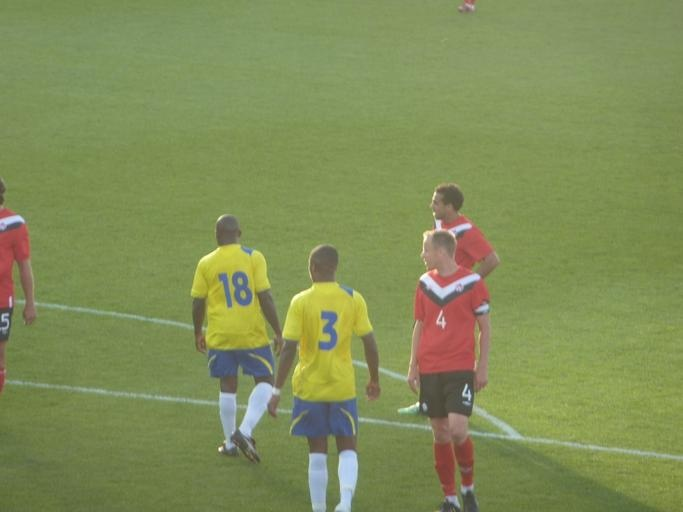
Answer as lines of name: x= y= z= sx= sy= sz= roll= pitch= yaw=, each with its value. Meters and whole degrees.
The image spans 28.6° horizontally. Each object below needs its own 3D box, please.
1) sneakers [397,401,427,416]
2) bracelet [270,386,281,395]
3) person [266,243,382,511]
sneakers: x=0.794 y=1.596 z=14.267 sx=0.294 sy=0.138 sz=0.171 roll=-5 pitch=9 yaw=19
bracelet: x=-0.622 y=1.298 z=12.927 sx=0.078 sy=0.080 sz=0.022 roll=7 pitch=-7 yaw=7
person: x=-0.149 y=1.182 z=12.938 sx=1.039 sy=2.345 sz=0.352 roll=4 pitch=1 yaw=1
